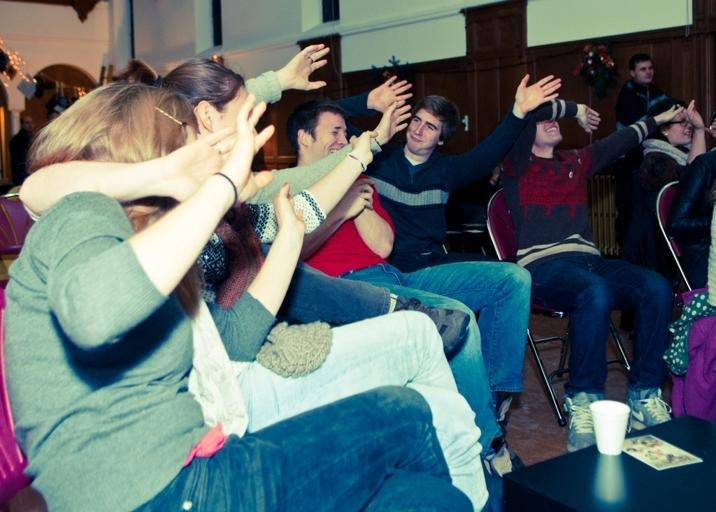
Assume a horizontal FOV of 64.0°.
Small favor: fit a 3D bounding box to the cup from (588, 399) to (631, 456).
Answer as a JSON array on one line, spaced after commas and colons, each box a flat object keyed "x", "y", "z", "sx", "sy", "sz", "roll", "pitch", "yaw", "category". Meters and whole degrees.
[{"x": 0.797, "y": 0.548, "z": 1.835, "sx": 0.139, "sy": 0.149, "sz": 0.134, "roll": 7, "pitch": -17, "yaw": 2, "category": "cup"}]

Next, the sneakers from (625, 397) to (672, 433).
[{"x": 1.392, "y": 0.740, "z": 2.740, "sx": 0.097, "sy": 0.161, "sz": 0.272, "roll": -12, "pitch": -8, "yaw": -13, "category": "sneakers"}]
